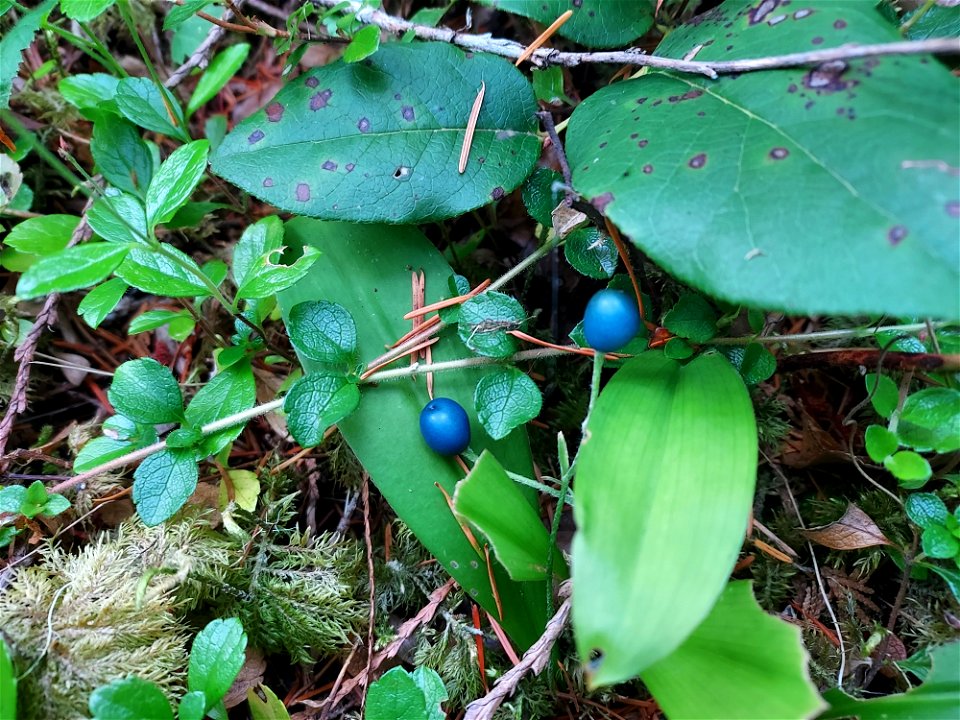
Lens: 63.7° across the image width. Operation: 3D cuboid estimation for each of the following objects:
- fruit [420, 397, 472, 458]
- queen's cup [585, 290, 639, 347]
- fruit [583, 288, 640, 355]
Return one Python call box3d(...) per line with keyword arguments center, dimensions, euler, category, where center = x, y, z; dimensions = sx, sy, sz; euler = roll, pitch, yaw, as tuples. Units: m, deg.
box3d(center=(-0.066, 0.140, 1.573), dimensions=(0.094, 0.124, 0.096), euler=(-4, 3, -29), category="fruit")
box3d(center=(0.230, -0.069, 1.371), dimensions=(0.093, 0.130, 0.101), euler=(-4, 25, 2), category="queen's cup")
box3d(center=(0.224, -0.070, 1.389), dimensions=(0.092, 0.128, 0.100), euler=(7, 13, 6), category="fruit")
